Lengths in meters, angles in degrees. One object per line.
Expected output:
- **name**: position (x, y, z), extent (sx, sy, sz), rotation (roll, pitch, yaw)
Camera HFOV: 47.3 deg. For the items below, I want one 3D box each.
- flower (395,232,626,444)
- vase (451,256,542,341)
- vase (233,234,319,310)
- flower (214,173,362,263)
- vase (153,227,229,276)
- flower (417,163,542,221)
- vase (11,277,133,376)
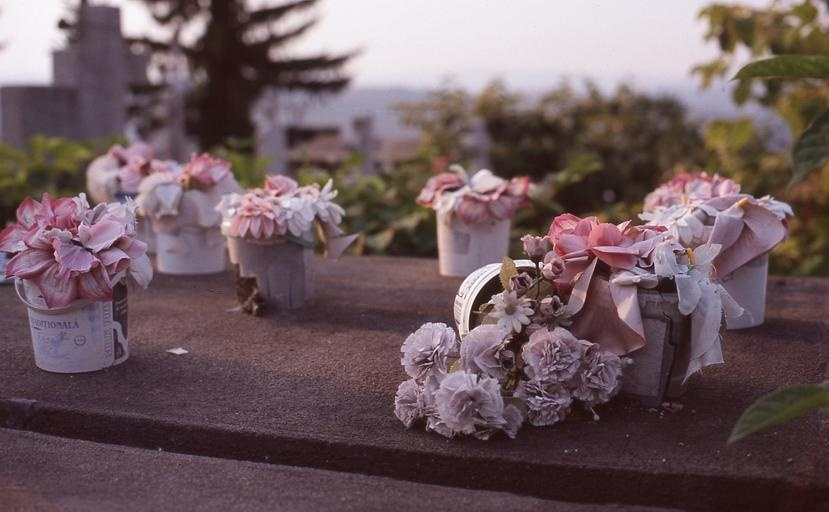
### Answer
- **flower**: position (0.430, 0.338, 4.832), extent (1.102, 0.579, 1.089), rotation (-9, 8, -14)
- **vase**: position (0.431, 0.224, 5.185), extent (0.444, 0.415, 0.314), rotation (-5, 18, -29)
- **vase**: position (-0.987, 0.137, 6.149), extent (0.599, 0.523, 0.577), rotation (3, -15, -36)
- **flower**: position (-0.828, -0.249, 5.828), extent (0.667, 0.396, 0.608), rotation (0, 4, 2)
- **vase**: position (-1.607, -0.024, 6.703), extent (0.393, 0.274, 0.385), rotation (0, 0, -1)
- **flower**: position (0.418, -0.405, 6.380), extent (0.511, 0.184, 0.517), rotation (1, 10, 34)
- **vase**: position (-1.831, 0.375, 5.249), extent (0.503, 0.477, 0.569), rotation (7, 10, 41)
